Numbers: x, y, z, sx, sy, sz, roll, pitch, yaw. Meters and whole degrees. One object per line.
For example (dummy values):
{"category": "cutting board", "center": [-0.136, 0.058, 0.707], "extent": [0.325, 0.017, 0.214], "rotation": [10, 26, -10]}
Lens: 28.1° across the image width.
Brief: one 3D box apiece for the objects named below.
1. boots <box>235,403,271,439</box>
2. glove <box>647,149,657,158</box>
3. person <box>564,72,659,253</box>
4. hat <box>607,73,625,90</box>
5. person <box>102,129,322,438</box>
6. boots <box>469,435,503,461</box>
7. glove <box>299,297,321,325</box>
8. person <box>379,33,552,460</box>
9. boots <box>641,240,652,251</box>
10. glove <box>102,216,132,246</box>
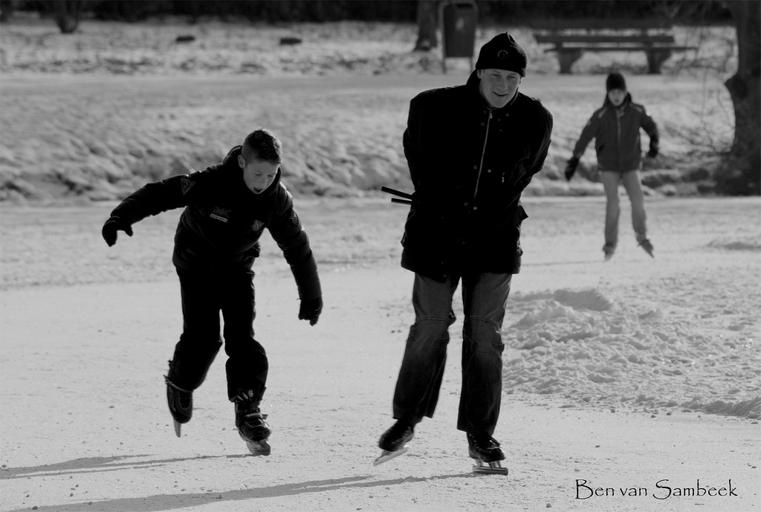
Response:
{"category": "boots", "center": [-0.998, 1.214, 11.493], "extent": [0.158, 0.177, 0.407], "rotation": [-7, 41, -28]}
{"category": "glove", "center": [2.665, -1.000, 14.911], "extent": [0.087, 0.054, 0.079], "rotation": [0, 8, 3]}
{"category": "person", "center": [2.430, -0.846, 15.286], "extent": [0.613, 1.925, 1.215], "rotation": [-8, 18, -25]}
{"category": "hat", "center": [2.338, -1.722, 15.147], "extent": [0.165, 0.173, 0.200], "rotation": [-3, -2, -2]}
{"category": "person", "center": [-1.194, 0.187, 11.424], "extent": [1.470, 2.209, 0.514], "rotation": [-1, 16, -3]}
{"category": "boots", "center": [0.788, 1.419, 11.330], "extent": [0.275, 0.184, 0.180], "rotation": [1, 15, 1]}
{"category": "glove", "center": [-0.558, 0.417, 11.811], "extent": [0.176, 0.201, 0.083], "rotation": [8, 13, -10]}
{"category": "person", "center": [0.650, 0.047, 11.337], "extent": [1.061, 2.739, 0.852], "rotation": [2, 16, 7]}
{"category": "boots", "center": [2.609, -0.108, 14.908], "extent": [0.078, 0.124, 0.031], "rotation": [-7, 36, 33]}
{"category": "glove", "center": [-1.977, -0.181, 11.386], "extent": [0.206, 0.256, 0.271], "rotation": [-3, 16, -10]}
